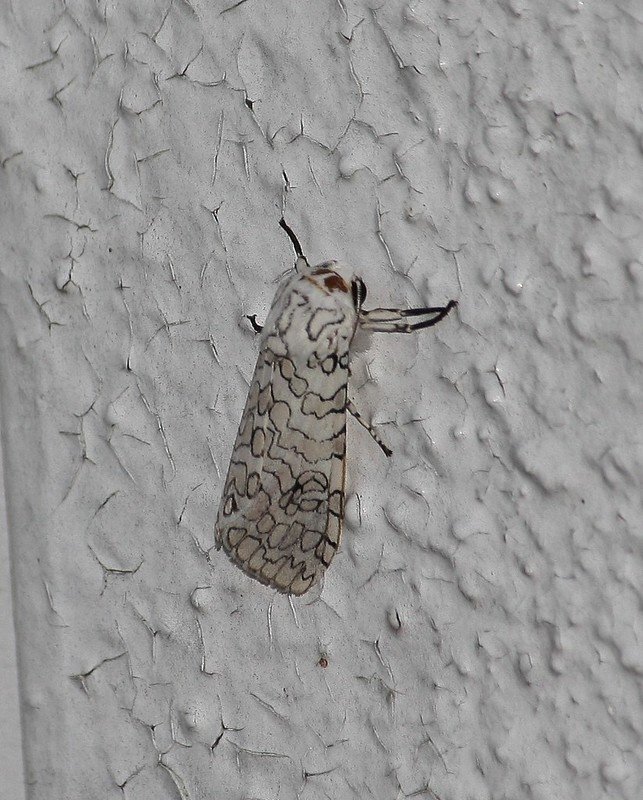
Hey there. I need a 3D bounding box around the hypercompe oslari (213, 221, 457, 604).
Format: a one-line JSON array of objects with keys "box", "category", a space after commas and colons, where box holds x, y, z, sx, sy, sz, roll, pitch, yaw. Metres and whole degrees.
[{"box": [-0.010, 0.001, 1.361, 0.232, 0.102, 0.474, 15, 105, 33], "category": "hypercompe oslari"}]
